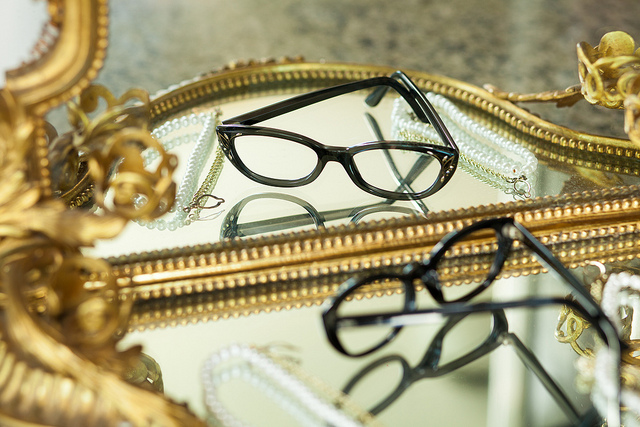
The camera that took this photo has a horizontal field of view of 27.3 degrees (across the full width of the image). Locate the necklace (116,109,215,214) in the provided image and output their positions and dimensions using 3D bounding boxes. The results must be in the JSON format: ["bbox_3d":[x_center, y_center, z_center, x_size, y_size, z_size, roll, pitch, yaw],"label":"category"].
[{"bbox_3d":[-0.207,-0.081,1.935,0.096,0.164,0.027,3,-44,17],"label":"necklace"}]

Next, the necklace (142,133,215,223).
[{"bbox_3d":[-0.189,-0.035,1.977,0.105,0.192,0.011,-9,-54,27],"label":"necklace"}]

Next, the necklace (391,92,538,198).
[{"bbox_3d":[0.211,-0.110,1.964,0.105,0.273,0.030,-21,-52,-31],"label":"necklace"}]
